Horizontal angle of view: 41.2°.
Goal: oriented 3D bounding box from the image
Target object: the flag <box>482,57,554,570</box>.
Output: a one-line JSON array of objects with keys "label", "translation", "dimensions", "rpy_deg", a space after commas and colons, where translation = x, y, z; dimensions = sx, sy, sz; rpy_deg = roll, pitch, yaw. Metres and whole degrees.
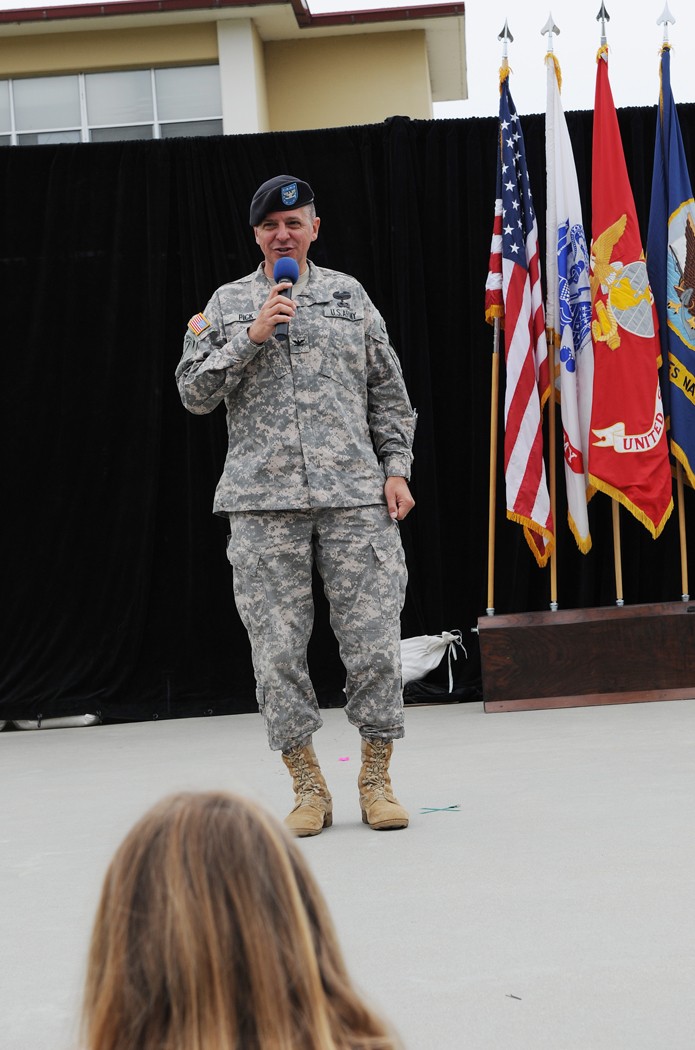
[{"label": "flag", "translation": [0.678, -0.841, 3.650], "dimensions": [0.206, 2.020, 0.316], "rpy_deg": [-4, -4, 32]}]

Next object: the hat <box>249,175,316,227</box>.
[{"label": "hat", "translation": [-0.153, -0.750, 2.117], "dimensions": [0.094, 0.077, 0.138], "rpy_deg": [-18, 7, 7]}]

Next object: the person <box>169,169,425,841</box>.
[{"label": "person", "translation": [-0.053, -0.058, 2.180], "dimensions": [0.514, 1.503, 0.289], "rpy_deg": [-2, -3, -9]}]

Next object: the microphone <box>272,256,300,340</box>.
[{"label": "microphone", "translation": [-0.138, -0.524, 2.127], "dimensions": [0.058, 0.186, 0.154], "rpy_deg": [-2, -3, -3]}]
